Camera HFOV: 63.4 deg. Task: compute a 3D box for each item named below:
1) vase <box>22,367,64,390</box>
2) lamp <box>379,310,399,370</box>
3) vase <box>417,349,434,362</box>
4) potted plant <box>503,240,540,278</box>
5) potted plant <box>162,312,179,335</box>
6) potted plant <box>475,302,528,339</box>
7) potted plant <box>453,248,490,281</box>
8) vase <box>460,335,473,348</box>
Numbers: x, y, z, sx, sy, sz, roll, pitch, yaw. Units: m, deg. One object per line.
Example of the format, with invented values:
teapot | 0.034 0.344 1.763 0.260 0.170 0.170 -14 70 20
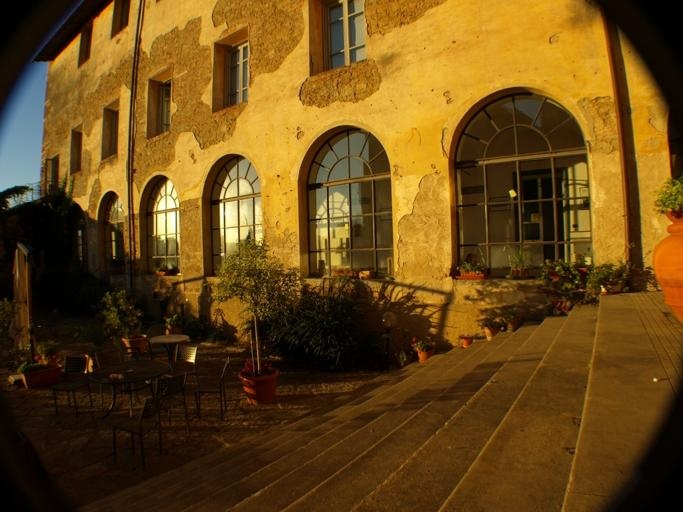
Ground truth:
vase | -5.421 2.212 10.011 0.470 0.320 0.465 1 -5 -40
lamp | 0.882 1.577 10.612 0.354 0.974 0.379 -3 9 32
vase | 1.520 1.808 10.096 0.193 0.170 0.209 2 -11 -2
potted plant | 3.165 0.058 9.732 0.590 0.589 0.447 -4 9 31
potted plant | -4.107 1.632 13.369 0.357 0.491 0.312 1 -4 -30
potted plant | 2.757 1.138 9.602 0.850 0.522 0.279 -5 8 27
potted plant | 2.399 0.154 10.124 0.597 0.648 0.523 0 0 26
vase | 2.243 1.522 9.837 0.229 0.200 0.217 -7 8 12
